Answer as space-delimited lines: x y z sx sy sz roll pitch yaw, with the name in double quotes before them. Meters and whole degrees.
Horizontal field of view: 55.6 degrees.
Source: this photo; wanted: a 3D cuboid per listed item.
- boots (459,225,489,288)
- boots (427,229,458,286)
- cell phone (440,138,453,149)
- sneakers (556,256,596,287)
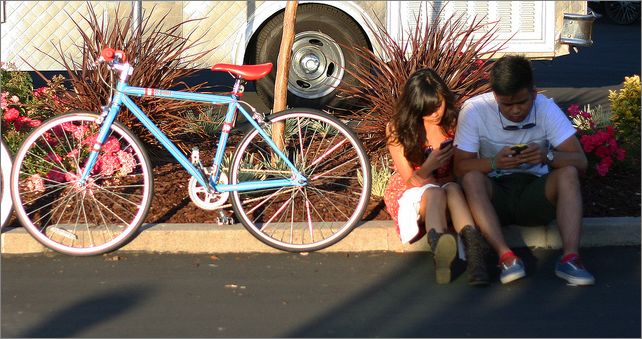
"boots" 1.791 0.992 7.048 0.323 0.577 0.922 -11 8 12
"boots" 1.398 0.994 6.910 0.218 0.679 0.287 2 10 9
"cell phone" 1.502 -0.305 7.153 0.101 0.088 0.261 8 15 40
"sneakers" 2.955 1.152 6.999 0.249 0.288 0.510 6 1 -11
